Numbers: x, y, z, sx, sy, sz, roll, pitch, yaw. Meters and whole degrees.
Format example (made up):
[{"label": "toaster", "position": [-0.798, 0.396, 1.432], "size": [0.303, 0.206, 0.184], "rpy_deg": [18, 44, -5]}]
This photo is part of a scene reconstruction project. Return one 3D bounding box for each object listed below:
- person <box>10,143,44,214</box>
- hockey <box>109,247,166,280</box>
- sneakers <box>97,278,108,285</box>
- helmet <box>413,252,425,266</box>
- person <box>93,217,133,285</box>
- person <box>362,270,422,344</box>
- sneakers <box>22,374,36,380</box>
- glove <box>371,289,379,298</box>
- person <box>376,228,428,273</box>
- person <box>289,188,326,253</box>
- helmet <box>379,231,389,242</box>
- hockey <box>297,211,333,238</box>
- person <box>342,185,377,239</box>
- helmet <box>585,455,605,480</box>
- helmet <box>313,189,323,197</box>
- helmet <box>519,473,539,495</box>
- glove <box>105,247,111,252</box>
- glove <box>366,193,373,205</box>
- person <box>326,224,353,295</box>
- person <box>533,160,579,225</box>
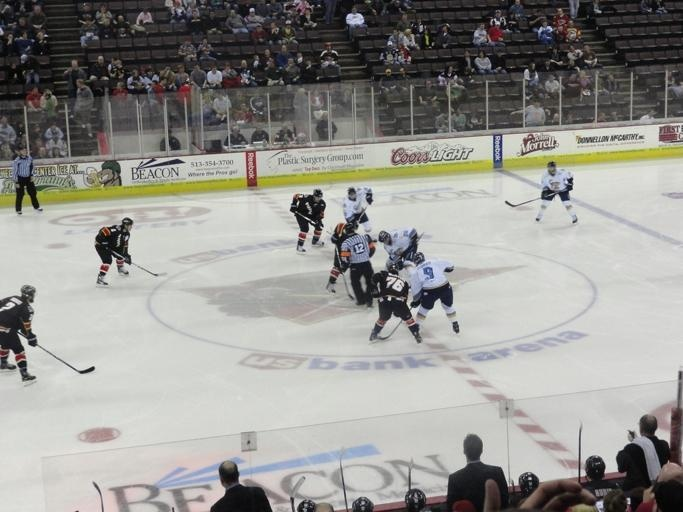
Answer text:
[{"label": "person", "position": [-7.480, -1.757, 23.429], "size": [0.526, 1.574, 0.571], "rpy_deg": [-8, 11, -16]}, {"label": "hockey", "position": [-3.951, 0.166, 19.136], "size": [0.148, 0.165, 1.006], "rpy_deg": [-23, -44, 30]}, {"label": "sneakers", "position": [-4.426, 0.453, 18.391], "size": [0.181, 0.173, 0.251], "rpy_deg": [-6, 9, -13]}, {"label": "helmet", "position": [1.182, 0.034, 15.714], "size": [0.177, 0.190, 0.213], "rpy_deg": [1, 0, 16]}, {"label": "person", "position": [-4.276, -0.123, 18.692], "size": [0.738, 1.202, 1.037], "rpy_deg": [-7, 10, -12]}, {"label": "person", "position": [0.820, 0.736, 15.558], "size": [0.837, 1.320, 0.594], "rpy_deg": [3, -29, -2]}, {"label": "sneakers", "position": [-4.585, 1.779, 14.655], "size": [0.217, 0.127, 0.066], "rpy_deg": [-3, 21, -12]}, {"label": "glove", "position": [0.555, 0.618, 16.376], "size": [0.177, 0.210, 0.126], "rpy_deg": [0, -4, -1]}, {"label": "person", "position": [1.080, -0.070, 17.763], "size": [0.754, 0.573, 1.085], "rpy_deg": [12, -12, 32]}, {"label": "person", "position": [-0.658, -0.726, 19.969], "size": [0.647, 1.277, 1.156], "rpy_deg": [-5, 10, -3]}, {"label": "helmet", "position": [0.748, -0.323, 17.185], "size": [0.178, 0.184, 0.247], "rpy_deg": [-4, 9, 3]}, {"label": "hockey", "position": [-0.572, -0.636, 20.372], "size": [1.138, 0.192, 0.191], "rpy_deg": [30, 14, -29]}, {"label": "person", "position": [0.319, -0.880, 19.691], "size": [0.610, 0.455, 0.880], "rpy_deg": [2, 48, -5]}, {"label": "helmet", "position": [2.802, 2.374, 11.088], "size": [0.247, 0.251, 0.263], "rpy_deg": [2, 38, 10]}, {"label": "helmet", "position": [-0.449, -1.226, 19.435], "size": [0.143, 0.131, 0.191], "rpy_deg": [-12, 12, -41]}, {"label": "helmet", "position": [2.058, 2.531, 11.010], "size": [0.218, 0.228, 0.259], "rpy_deg": [1, -10, 4]}, {"label": "glove", "position": [-4.301, -0.119, 18.339], "size": [0.094, 0.082, 0.018], "rpy_deg": [-8, 11, -24]}, {"label": "glove", "position": [0.564, -1.159, 19.926], "size": [0.210, 0.219, 0.090], "rpy_deg": [-1, 34, 6]}, {"label": "person", "position": [-0.014, 0.116, 17.775], "size": [0.544, 1.439, 0.555], "rpy_deg": [5, 45, 3]}, {"label": "person", "position": [4.607, -1.380, 21.350], "size": [0.901, 1.361, 1.154], "rpy_deg": [-2, 10, 11]}]
